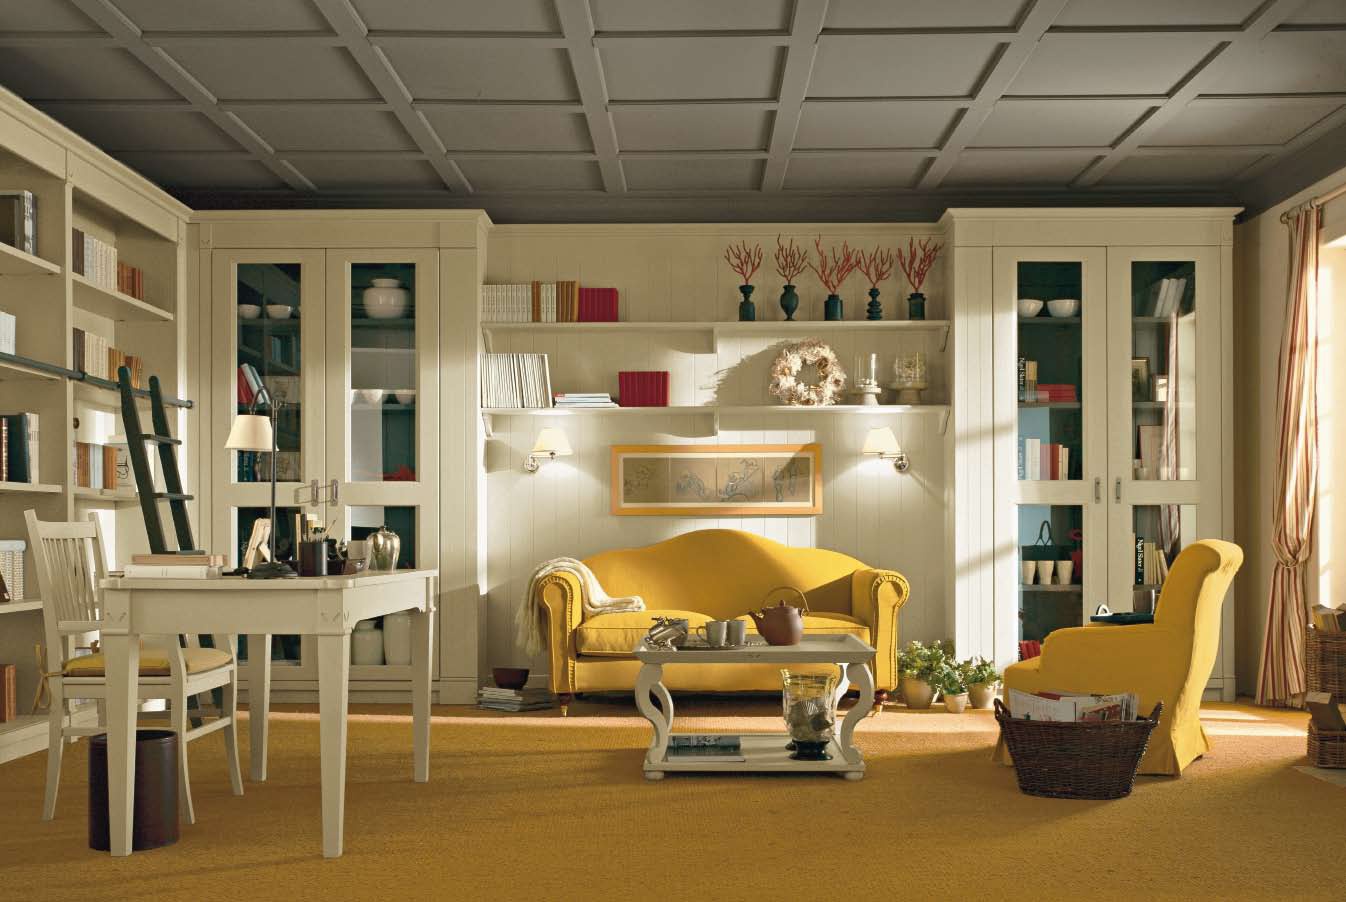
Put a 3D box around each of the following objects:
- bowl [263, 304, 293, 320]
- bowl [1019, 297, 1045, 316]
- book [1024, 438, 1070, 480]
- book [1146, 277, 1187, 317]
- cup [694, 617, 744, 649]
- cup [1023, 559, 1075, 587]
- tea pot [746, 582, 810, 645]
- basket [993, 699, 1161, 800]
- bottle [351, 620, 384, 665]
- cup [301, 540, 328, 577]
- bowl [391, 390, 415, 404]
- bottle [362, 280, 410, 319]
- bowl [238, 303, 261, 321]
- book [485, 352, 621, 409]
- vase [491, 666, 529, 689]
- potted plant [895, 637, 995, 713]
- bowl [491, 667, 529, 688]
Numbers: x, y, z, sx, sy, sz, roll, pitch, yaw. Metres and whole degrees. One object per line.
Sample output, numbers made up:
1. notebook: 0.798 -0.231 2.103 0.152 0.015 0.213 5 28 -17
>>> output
1. bowl: -2.794 -0.989 7.913 0.143 0.063 0.137 0 -4 0
2. bowl: 2.531 -1.019 7.883 0.144 0.085 0.139 0 -1 0
3. book: 2.611 0.098 7.978 0.372 0.332 0.262 0 -6 2
4. book: 3.498 -1.098 7.918 0.269 0.254 0.093 1 -3 4
5. cup: 0.248 1.026 6.224 0.240 0.156 0.153 -1 -6 4
6. cup: 2.638 0.862 7.833 0.302 0.129 0.190 0 -7 6
7. tea pot: 0.654 0.939 6.396 0.436 0.421 0.319 2 -8 -1
8. basket: 2.059 1.460 5.733 0.623 0.331 0.454 -1 -4 17
9. bottle: -2.117 1.371 7.954 0.283 0.296 0.267 -1 -7 2
10. cup: -1.653 0.497 5.137 0.149 0.154 0.143 0 0 0
11. bowl: -1.904 -0.381 7.900 0.117 0.066 0.112 -1 -3 0
12. bottle: -2.032 -1.075 7.912 0.301 0.239 0.290 1 -4 0
13. bowl: -3.001 -0.987 7.921 0.127 0.072 0.123 0 -4 0
14. book: -0.968 -0.508 8.067 0.827 0.401 0.334 -2 8 -10
15. vase: -1.135 1.568 7.780 0.207 0.094 0.196 2 -7 -14
16. potted plant: 1.860 1.539 7.601 0.510 0.326 0.498 1 -3 16
17. bowl: -1.150 1.588 7.794 0.203 0.092 0.194 0 -7 0
